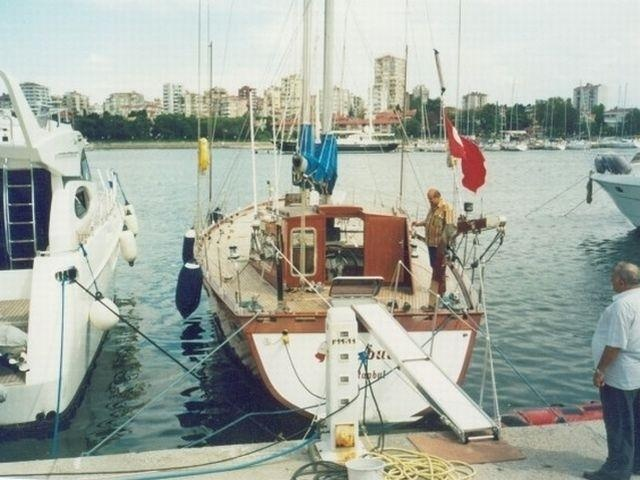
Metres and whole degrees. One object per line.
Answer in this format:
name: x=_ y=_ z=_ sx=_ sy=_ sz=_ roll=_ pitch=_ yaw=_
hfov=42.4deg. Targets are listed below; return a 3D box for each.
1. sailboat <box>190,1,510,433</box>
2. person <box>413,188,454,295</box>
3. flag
sailboat: x=0.332 y=-0.645 z=13.203 sx=3.992 sy=6.709 sz=7.859 roll=-6 pitch=12 yaw=-21
person: x=1.907 y=0.013 z=13.017 sx=0.413 sy=1.662 sz=1.106 roll=-2 pitch=11 yaw=2
flag: x=2.413 y=-1.497 z=13.745 sx=0.514 sy=1.661 sz=0.196 roll=-14 pitch=-22 yaw=15
